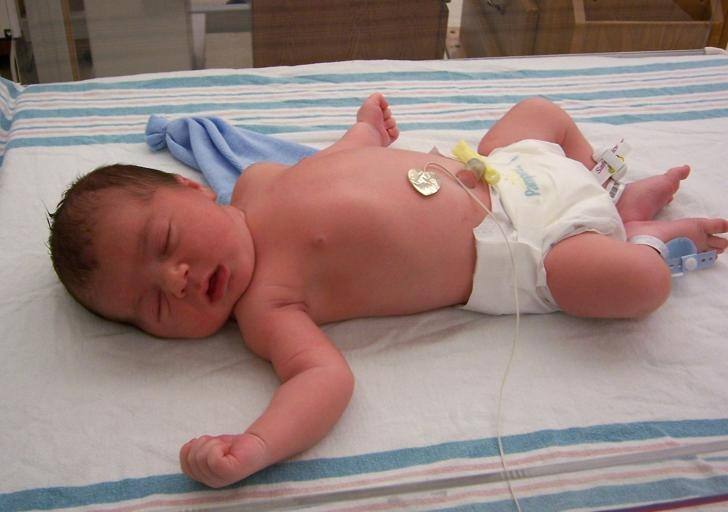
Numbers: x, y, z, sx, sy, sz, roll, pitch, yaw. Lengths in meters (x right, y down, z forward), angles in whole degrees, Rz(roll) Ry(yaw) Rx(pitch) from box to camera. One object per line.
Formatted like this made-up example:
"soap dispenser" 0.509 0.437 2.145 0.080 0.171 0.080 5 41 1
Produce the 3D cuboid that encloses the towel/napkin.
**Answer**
"towel/napkin" -0.406 -0.299 1.808 0.454 0.108 0.261 15 54 8
